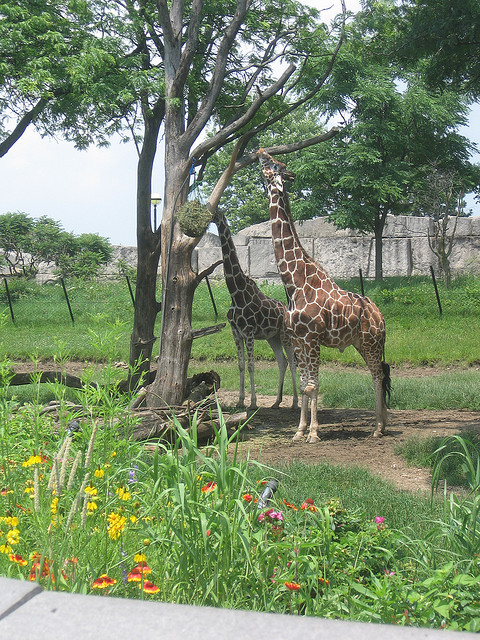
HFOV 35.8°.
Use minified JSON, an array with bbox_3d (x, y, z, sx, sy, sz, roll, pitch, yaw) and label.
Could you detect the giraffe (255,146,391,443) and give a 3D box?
[{"bbox_3d":[0.930,-0.336,7.868,1.150,3.087,0.937,-4,3,-22],"label":"giraffe"}]
